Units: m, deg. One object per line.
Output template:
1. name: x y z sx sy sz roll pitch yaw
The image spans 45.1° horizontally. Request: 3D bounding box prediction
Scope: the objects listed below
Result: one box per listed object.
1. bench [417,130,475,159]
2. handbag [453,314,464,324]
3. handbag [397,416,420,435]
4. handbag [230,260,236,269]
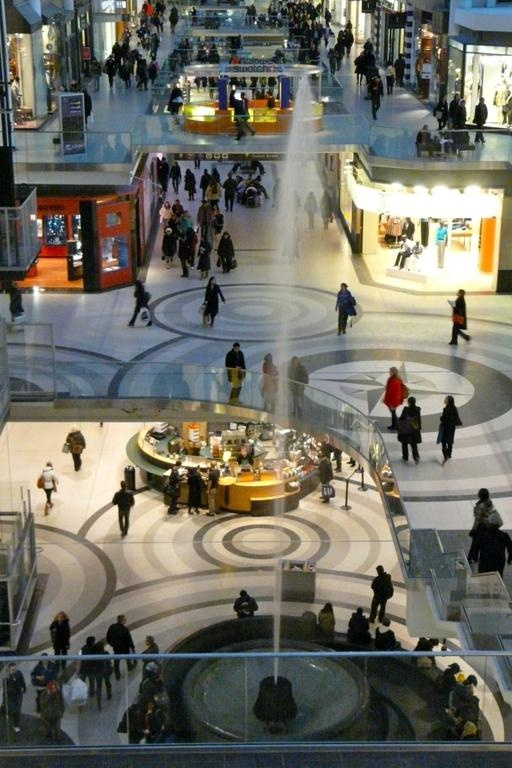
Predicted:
1. bench: 6.801 -8.470 21.676 1.797 1.062 0.811 -1 1 8
2. handbag: 5.932 -1.903 17.906 0.231 0.246 0.109 2 7 33
3. handbag: 3.124 0.835 12.463 0.312 0.354 0.145 -4 5 13
4. handbag: -0.900 -4.866 24.913 0.248 0.341 0.277 -3 -11 -4
